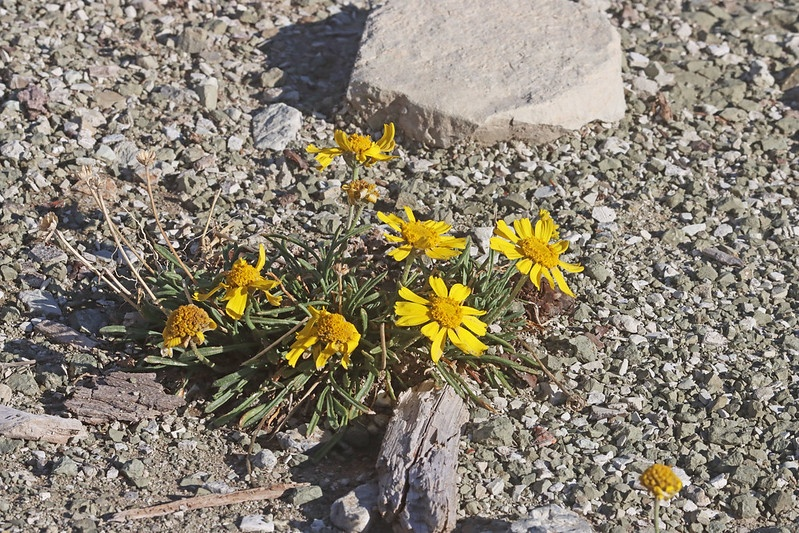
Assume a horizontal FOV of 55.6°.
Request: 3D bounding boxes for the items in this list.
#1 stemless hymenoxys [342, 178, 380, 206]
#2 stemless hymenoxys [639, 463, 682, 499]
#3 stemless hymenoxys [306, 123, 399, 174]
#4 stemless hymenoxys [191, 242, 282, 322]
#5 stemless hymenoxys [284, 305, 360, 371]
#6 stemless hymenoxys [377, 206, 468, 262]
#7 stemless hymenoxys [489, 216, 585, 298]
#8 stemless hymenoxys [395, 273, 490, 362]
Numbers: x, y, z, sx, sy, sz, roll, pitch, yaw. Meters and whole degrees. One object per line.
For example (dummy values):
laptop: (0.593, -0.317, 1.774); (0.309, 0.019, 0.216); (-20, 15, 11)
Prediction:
stemless hymenoxys: (-0.221, -0.434, 4.258); (0.162, 0.090, 0.160); (1, 20, -17)
stemless hymenoxys: (1.295, 1.048, 3.765); (0.173, 0.179, 0.078); (30, 58, 1)
stemless hymenoxys: (-0.272, -0.698, 4.478); (0.431, 0.441, 0.197); (12, 79, -25)
stemless hymenoxys: (-0.864, 0.104, 4.205); (0.460, 0.207, 0.454); (-18, 26, -2)
stemless hymenoxys: (-0.414, 0.401, 4.034); (0.327, 0.221, 0.295); (22, 65, 6)
stemless hymenoxys: (0.078, -0.235, 4.133); (0.476, 0.140, 0.433); (-17, 24, -37)
stemless hymenoxys: (0.778, -0.107, 4.093); (0.164, 0.450, 0.471); (-37, 82, -31)
stemless hymenoxys: (0.249, 0.312, 3.987); (0.435, 0.113, 0.397); (11, 11, 25)
